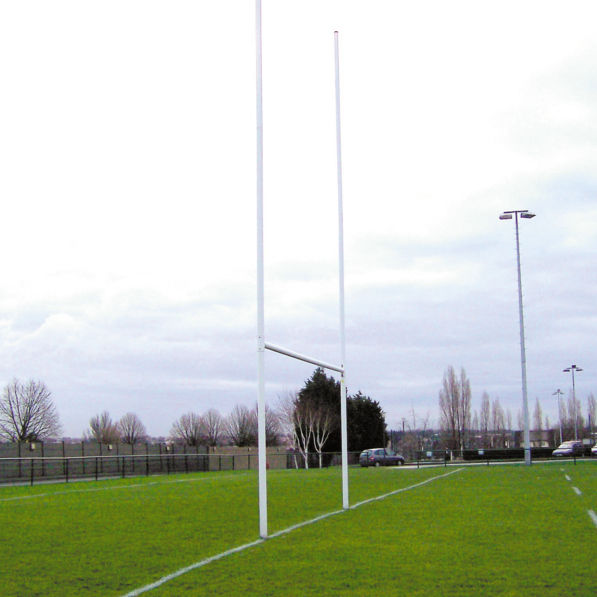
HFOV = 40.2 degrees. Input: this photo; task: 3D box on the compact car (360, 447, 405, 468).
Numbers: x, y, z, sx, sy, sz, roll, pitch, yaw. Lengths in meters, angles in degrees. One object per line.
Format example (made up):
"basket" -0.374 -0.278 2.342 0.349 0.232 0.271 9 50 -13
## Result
"compact car" 4.763 9.139 46.658 2.117 0.941 1.109 -1 -3 -25
